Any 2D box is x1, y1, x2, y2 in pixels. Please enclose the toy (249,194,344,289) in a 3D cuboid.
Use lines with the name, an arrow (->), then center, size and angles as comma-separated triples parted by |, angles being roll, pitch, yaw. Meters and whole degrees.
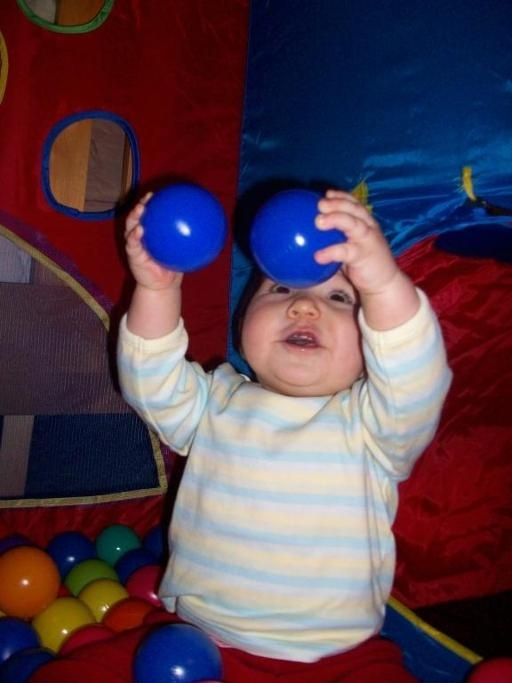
toy -> 0.047, -0.157, 0.891 | 0.142, 0.152, 0.133 | 4, 23, 6

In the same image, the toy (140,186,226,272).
toy -> -0.108, -0.166, 0.878 | 0.126, 0.095, 0.119 | -11, 51, -9
